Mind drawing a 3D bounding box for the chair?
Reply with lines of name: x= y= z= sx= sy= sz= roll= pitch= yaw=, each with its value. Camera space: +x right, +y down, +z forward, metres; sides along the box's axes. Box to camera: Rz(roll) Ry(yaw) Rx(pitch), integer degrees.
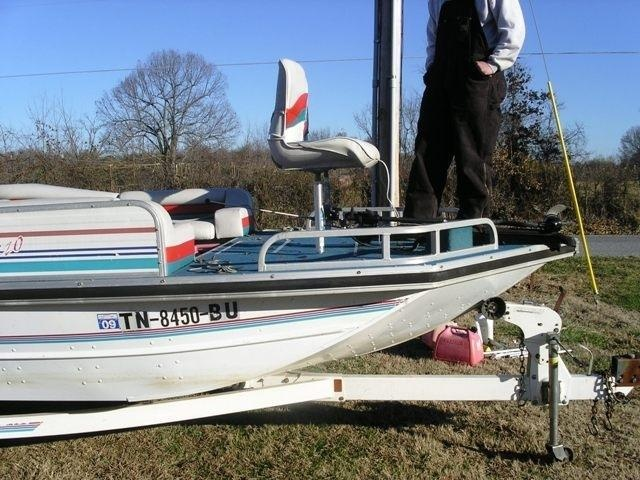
chair: x=0.061 y=-0.757 z=5.397 sx=0.927 sy=1.490 sz=1.014 roll=3 pitch=11 yaw=26
